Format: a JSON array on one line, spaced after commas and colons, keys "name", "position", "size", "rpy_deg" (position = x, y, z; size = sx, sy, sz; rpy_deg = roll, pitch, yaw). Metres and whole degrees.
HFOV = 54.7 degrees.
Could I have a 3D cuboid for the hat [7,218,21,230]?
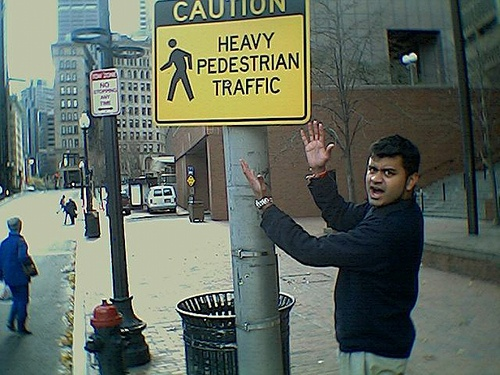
[{"name": "hat", "position": [-3.578, 0.546, 7.314], "size": [0.160, 0.189, 0.377], "rpy_deg": [-3, 0, -24]}]
